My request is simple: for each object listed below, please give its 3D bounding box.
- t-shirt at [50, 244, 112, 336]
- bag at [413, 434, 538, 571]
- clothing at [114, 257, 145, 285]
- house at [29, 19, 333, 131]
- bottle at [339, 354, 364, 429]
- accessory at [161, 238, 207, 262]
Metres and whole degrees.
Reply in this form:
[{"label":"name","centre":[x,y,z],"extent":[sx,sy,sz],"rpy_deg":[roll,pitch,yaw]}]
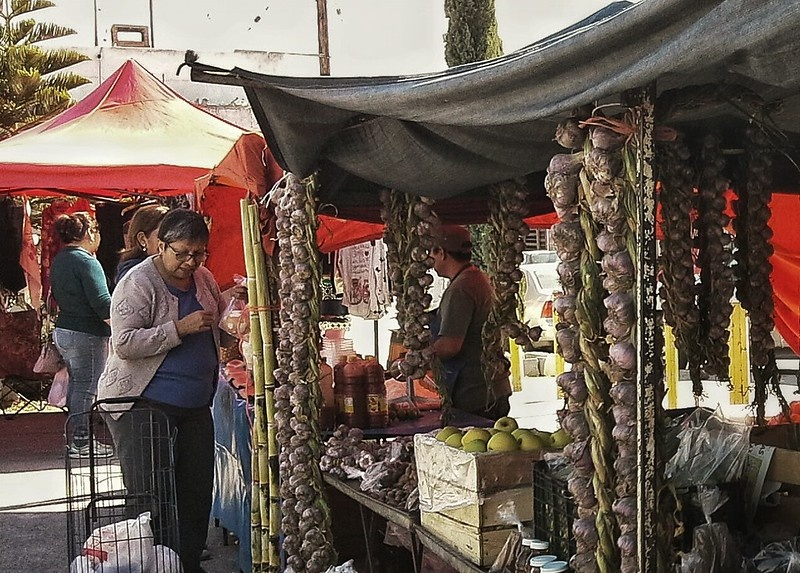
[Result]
[{"label":"t-shirt","centre":[-2.682,0.039,8.575],"extent":[0.837,0.789,0.492],"rpy_deg":[5,6,41]},{"label":"bag","centre":[0.338,1.000,4.698],"extent":[0.646,0.580,0.262],"rpy_deg":[-7,-7,38]},{"label":"clothing","centre":[-1.632,-0.095,6.057],"extent":[0.153,0.076,0.166],"rpy_deg":[-25,21,41]},{"label":"house","centre":[-4.530,-4.993,23.168],"extent":[7.059,1.850,7.283],"rpy_deg":[7,12,34]},{"label":"bottle","centre":[-0.279,0.658,6.022],"extent":[0.157,0.383,0.096],"rpy_deg":[-3,-6,0]},{"label":"accessory","centre":[-1.266,-0.190,5.795],"extent":[0.171,0.060,0.167],"rpy_deg":[3,-8,-33]}]
